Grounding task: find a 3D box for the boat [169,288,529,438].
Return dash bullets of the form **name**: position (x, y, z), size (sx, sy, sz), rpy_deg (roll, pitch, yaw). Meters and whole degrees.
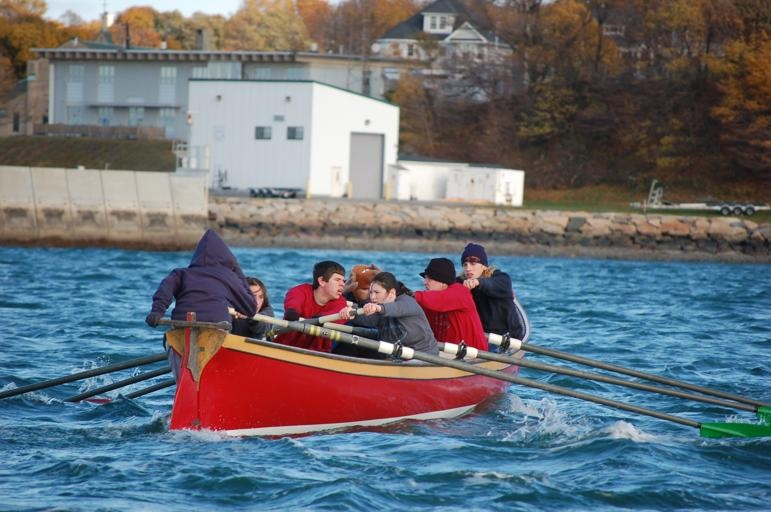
- **boat**: position (0.983, 6.087, 63.846), size (8.745, 6.038, 17.772), rpy_deg (0, -2, 19)
